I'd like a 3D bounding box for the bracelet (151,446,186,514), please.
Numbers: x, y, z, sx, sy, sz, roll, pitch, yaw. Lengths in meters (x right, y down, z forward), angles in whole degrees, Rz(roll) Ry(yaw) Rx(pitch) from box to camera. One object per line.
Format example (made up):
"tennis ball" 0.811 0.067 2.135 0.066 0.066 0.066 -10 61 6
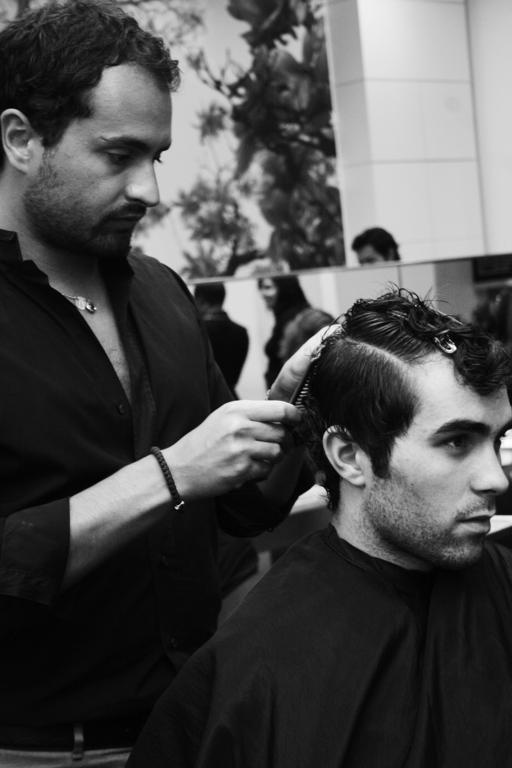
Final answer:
"bracelet" -0.132 0.158 1.270 0.023 0.081 0.084 -30 15 -2
